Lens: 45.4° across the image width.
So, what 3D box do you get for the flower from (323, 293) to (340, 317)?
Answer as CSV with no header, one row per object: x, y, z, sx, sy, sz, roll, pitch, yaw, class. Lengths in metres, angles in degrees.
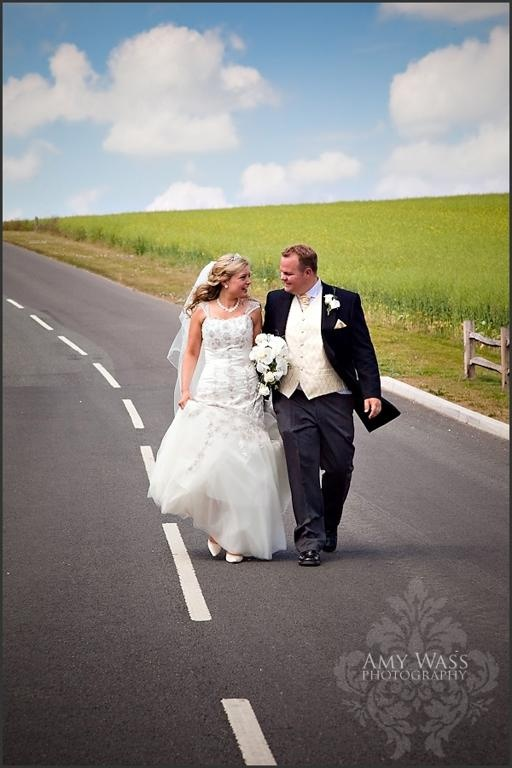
0.558,-0.597,4.546,0.118,0.152,0.078,3,4,15,flower

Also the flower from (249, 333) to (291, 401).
0.084,-0.134,4.653,0.296,0.491,0.363,0,4,-16,flower

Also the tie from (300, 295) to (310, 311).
0.368,-0.618,4.648,0.067,0.106,0.031,-1,-9,29,tie
